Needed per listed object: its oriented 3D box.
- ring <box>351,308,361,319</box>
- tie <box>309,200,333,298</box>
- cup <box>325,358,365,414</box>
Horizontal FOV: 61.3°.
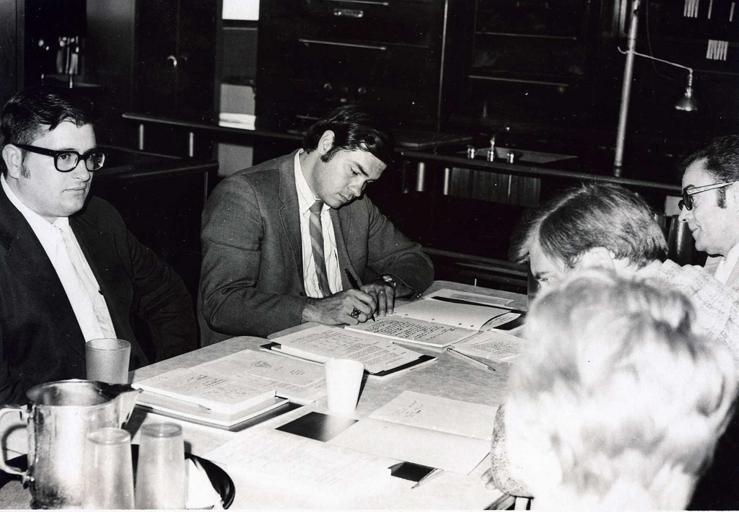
[{"bbox_3d":[-0.046,0.195,2.124,0.032,0.028,0.008,4,-13,-34],"label":"ring"},{"bbox_3d":[-0.197,-0.026,2.524,0.071,0.434,0.048,-6,3,-6],"label":"tie"},{"bbox_3d":[-0.062,0.310,1.510,0.119,0.113,0.113,1,4,0],"label":"cup"}]
